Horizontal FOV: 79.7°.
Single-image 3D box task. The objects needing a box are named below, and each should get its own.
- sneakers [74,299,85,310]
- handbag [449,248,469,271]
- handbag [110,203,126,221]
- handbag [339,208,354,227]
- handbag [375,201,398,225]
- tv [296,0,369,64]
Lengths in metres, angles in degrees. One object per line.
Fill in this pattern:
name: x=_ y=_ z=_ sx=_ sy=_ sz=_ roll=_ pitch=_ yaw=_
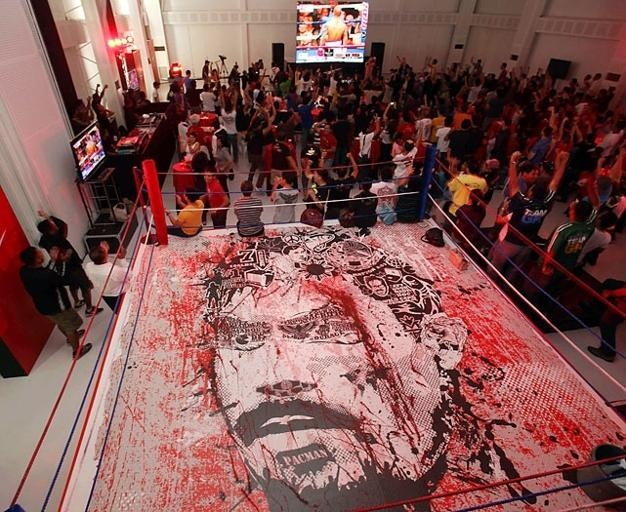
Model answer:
sneakers: x=-3.616 y=0.726 z=5.756 sx=0.097 sy=0.112 sz=0.265 roll=-8 pitch=29 yaw=-27
handbag: x=2.163 y=0.067 z=5.576 sx=0.152 sy=0.140 sz=0.290 roll=-8 pitch=41 yaw=-15
handbag: x=-3.501 y=-0.764 z=6.688 sx=0.316 sy=0.350 sz=0.184 roll=0 pitch=11 yaw=-13
handbag: x=0.552 y=-0.617 z=6.148 sx=0.247 sy=0.330 sz=0.174 roll=-3 pitch=28 yaw=-4
handbag: x=1.226 y=-0.697 z=6.251 sx=0.281 sy=0.163 sz=0.376 roll=-1 pitch=47 yaw=-6
tv: x=0.660 y=-9.030 z=15.002 sx=3.396 sy=2.390 sz=0.045 roll=-2 pitch=34 yaw=-7
